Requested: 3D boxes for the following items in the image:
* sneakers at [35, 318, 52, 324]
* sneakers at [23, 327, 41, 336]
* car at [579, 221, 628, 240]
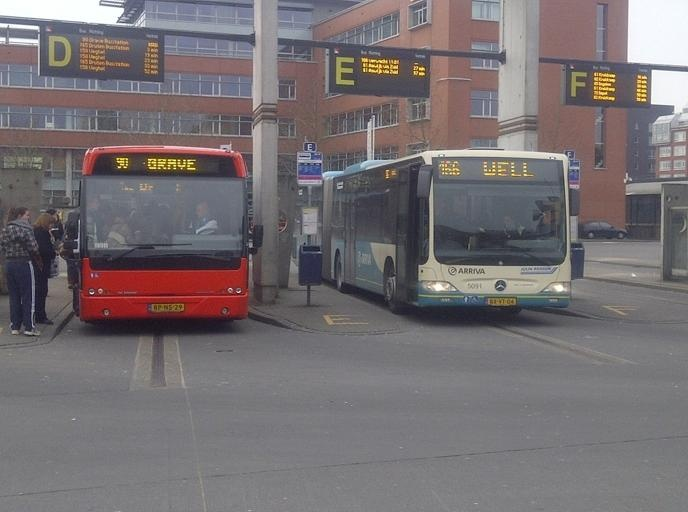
[{"bbox_3d":[-5.527,1.180,15.384,0.322,0.148,0.115,1,1,-11],"label":"sneakers"},{"bbox_3d":[-5.177,1.250,13.853,0.322,0.161,0.125,-2,15,-26],"label":"sneakers"},{"bbox_3d":[19.311,-1.908,63.379,3.286,1.214,1.559,-1,3,-4],"label":"car"}]
